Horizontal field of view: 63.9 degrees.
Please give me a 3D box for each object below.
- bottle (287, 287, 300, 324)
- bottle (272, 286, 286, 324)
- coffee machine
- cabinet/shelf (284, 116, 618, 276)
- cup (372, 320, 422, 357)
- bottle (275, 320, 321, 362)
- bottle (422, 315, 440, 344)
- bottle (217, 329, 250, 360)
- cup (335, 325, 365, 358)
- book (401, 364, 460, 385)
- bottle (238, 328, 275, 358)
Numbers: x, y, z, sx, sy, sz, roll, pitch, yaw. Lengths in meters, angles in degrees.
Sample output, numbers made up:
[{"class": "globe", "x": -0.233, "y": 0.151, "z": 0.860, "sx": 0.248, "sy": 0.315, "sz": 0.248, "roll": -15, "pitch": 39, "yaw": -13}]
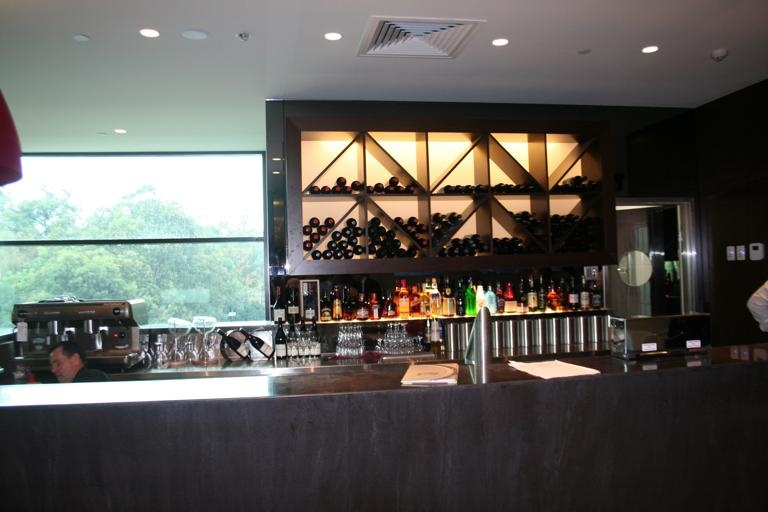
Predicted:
[{"class": "bottle", "x": -0.797, "y": 0.445, "z": 5.462, "sx": 0.116, "sy": 0.300, "sz": 0.186, "roll": -6, "pitch": 12, "yaw": -8}, {"class": "bottle", "x": -0.926, "y": 0.423, "z": 5.426, "sx": 0.113, "sy": 0.271, "sz": 0.294, "roll": -6, "pitch": 12, "yaw": -10}, {"class": "coffee machine", "x": -2.612, "y": 0.557, "z": 5.494, "sx": 1.026, "sy": 0.671, "sz": 0.642, "roll": 0, "pitch": -9, "yaw": -8}, {"class": "cabinet/shelf", "x": 0.576, "y": -0.525, "z": 5.546, "sx": 2.981, "sy": 1.311, "sz": 0.379, "roll": -2, "pitch": 0, "yaw": -10}, {"class": "cup", "x": 0.125, "y": 0.742, "z": 5.328, "sx": 0.339, "sy": 0.191, "sz": 0.247, "roll": 2, "pitch": -4, "yaw": -13}, {"class": "bottle", "x": -0.728, "y": 0.740, "z": 5.231, "sx": 0.319, "sy": 0.300, "sz": 0.105, "roll": 0, "pitch": -15, "yaw": -4}, {"class": "bottle", "x": 0.426, "y": 0.664, "z": 5.475, "sx": 0.123, "sy": 0.220, "sz": 0.107, "roll": -2, "pitch": 12, "yaw": 12}, {"class": "bottle", "x": -1.271, "y": 0.768, "z": 5.244, "sx": 0.225, "sy": 0.286, "sz": 0.068, "roll": -44, "pitch": 13, "yaw": -2}, {"class": "cup", "x": -0.287, "y": 0.742, "z": 5.330, "sx": 0.254, "sy": 0.239, "sz": 0.251, "roll": 1, "pitch": -2, "yaw": 0}, {"class": "book", "x": 0.255, "y": 0.651, "z": 3.405, "sx": 0.301, "sy": 0.047, "sz": 0.382, "roll": -2, "pitch": 12, "yaw": 7}, {"class": "bottle", "x": -1.078, "y": 0.747, "z": 5.219, "sx": 0.321, "sy": 0.240, "sz": 0.152, "roll": 0, "pitch": 12, "yaw": 19}]
